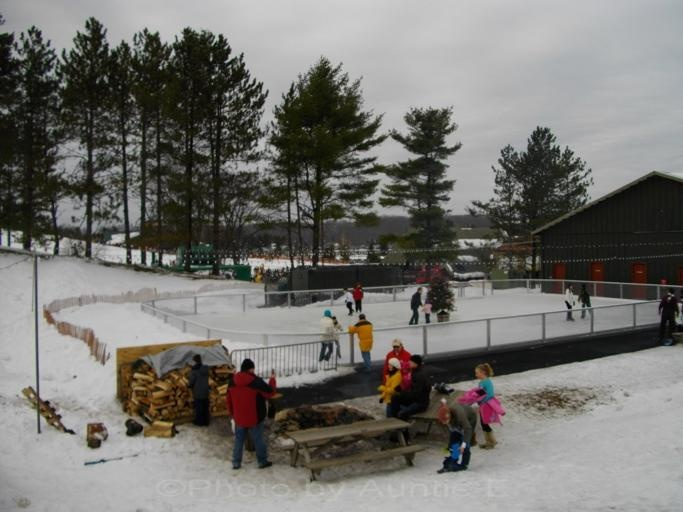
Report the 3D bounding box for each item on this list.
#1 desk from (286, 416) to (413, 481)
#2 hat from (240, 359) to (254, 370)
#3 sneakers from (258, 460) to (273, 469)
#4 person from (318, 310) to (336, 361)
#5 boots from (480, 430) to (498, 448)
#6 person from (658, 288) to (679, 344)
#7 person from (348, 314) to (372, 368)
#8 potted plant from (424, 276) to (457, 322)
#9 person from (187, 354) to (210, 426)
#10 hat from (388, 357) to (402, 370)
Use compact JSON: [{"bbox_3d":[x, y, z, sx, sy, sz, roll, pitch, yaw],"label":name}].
[{"bbox_3d":[0.264,4.708,15.948,3.049,1.229,1.270,-4,13,-9],"label":"desk"},{"bbox_3d":[-2.322,2.654,16.316,0.235,0.271,0.323,3,15,10],"label":"hat"},{"bbox_3d":[-1.887,5.186,16.207,0.369,0.171,0.122,-12,15,-34],"label":"sneakers"},{"bbox_3d":[-0.511,2.558,21.810,0.607,1.591,0.975,-3,13,-3],"label":"person"},{"bbox_3d":[3.749,4.601,16.612,0.430,0.582,0.380,-1,-1,-12],"label":"boots"},{"bbox_3d":[12.086,2.187,24.231,0.625,1.716,1.574,5,15,28],"label":"person"},{"bbox_3d":[0.667,2.761,21.246,0.653,1.787,0.340,-2,13,0],"label":"person"},{"bbox_3d":[4.609,1.914,30.553,1.472,1.976,1.134,-13,17,-38],"label":"potted plant"},{"bbox_3d":[-4.001,3.839,18.495,0.556,1.765,0.676,-6,13,-15],"label":"person"},{"bbox_3d":[1.379,2.772,16.917,0.275,0.228,0.239,1,2,-2],"label":"hat"}]
